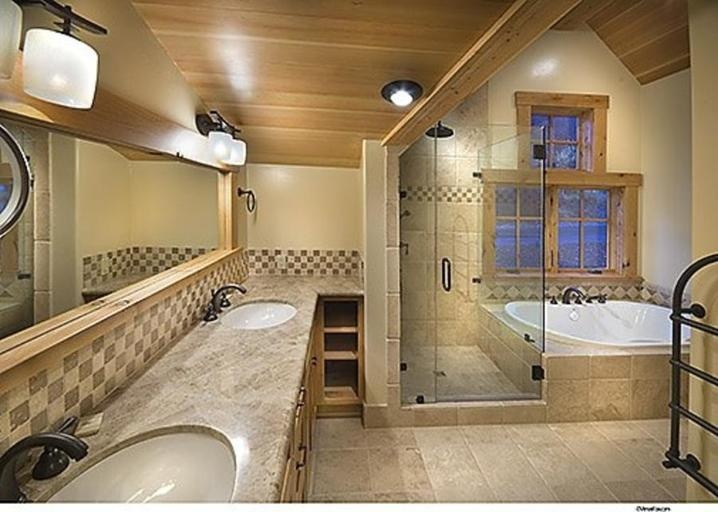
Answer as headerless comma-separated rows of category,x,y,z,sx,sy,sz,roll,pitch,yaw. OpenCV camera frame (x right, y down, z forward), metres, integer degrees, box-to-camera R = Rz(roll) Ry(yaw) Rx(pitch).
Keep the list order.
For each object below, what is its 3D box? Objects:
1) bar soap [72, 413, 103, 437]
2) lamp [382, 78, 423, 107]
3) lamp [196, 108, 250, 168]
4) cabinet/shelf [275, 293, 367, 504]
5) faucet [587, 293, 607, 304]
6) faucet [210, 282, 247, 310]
bar soap,-1.235,0.777,2.270,0.067,0.020,0.098,-1,14,-16
lamp,0.251,-0.968,2.947,0.258,0.120,0.154,1,4,4
lamp,-0.933,-0.831,3.375,0.261,0.333,0.469,-18,22,-10
cabinet/shelf,-0.237,0.929,3.166,0.323,0.584,1.138,-1,20,-2
faucet,2.175,0.399,4.546,0.221,0.083,0.088,-1,-2,14
faucet,-0.864,0.266,3.214,0.146,0.116,0.318,-2,0,-39
